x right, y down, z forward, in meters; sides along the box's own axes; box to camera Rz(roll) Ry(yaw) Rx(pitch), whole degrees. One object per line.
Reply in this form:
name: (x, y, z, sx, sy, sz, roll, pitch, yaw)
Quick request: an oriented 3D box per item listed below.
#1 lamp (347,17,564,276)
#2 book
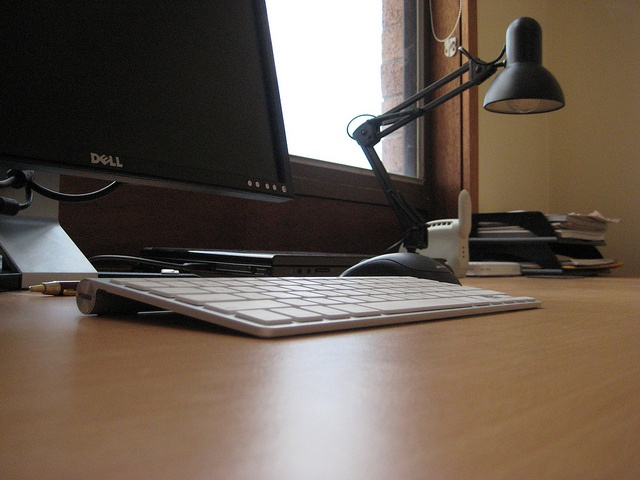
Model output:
lamp: (0.223, -0.151, 0.935, 0.420, 0.422, 0.181, -3, 0, 38)
book: (0.571, 0.004, 1.383, 0.272, 0.103, 0.201, 0, 0, 35)
